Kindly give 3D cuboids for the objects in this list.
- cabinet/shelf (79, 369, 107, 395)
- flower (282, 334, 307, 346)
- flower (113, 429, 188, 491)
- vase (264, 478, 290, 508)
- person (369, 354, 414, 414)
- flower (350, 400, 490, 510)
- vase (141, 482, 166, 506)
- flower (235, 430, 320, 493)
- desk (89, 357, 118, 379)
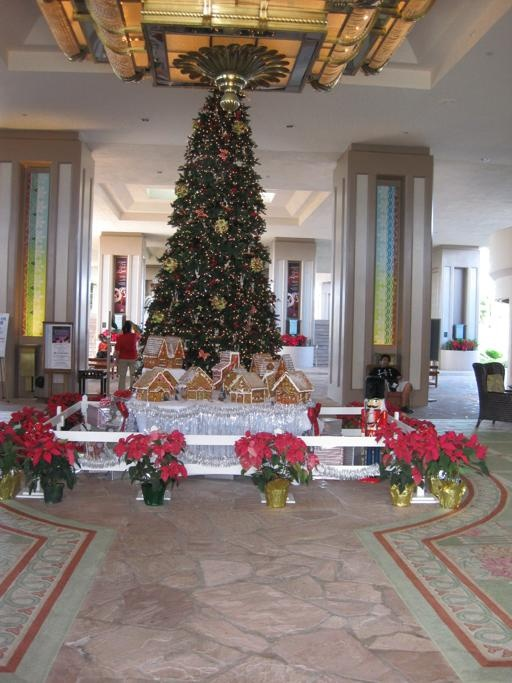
[{"bbox_3d":[-2.984,0.753,9.524,0.517,0.663,0.505,0,5,-8],"label":"cabinet/shelf"},{"bbox_3d":[1.413,-0.018,18.619,0.707,0.340,0.685,1,2,-8],"label":"flower"},{"bbox_3d":[-0.666,0.739,3.317,0.397,0.269,0.411,16,13,39],"label":"flower"},{"bbox_3d":[0.114,1.002,3.425,0.171,0.186,0.193,1,-7,-5],"label":"vase"},{"bbox_3d":[2.352,0.743,8.982,0.662,1.023,0.606,-8,-11,27],"label":"person"},{"bbox_3d":[1.172,0.801,3.667,0.787,0.661,0.930,2,-1,11],"label":"flower"},{"bbox_3d":[-0.654,0.965,3.339,0.172,0.134,0.179,1,-5,-9],"label":"vase"},{"bbox_3d":[0.141,0.714,3.360,0.434,0.295,0.425,7,0,-2],"label":"flower"},{"bbox_3d":[-3.264,0.569,11.138,0.747,0.465,0.460,1,4,-2],"label":"desk"}]
